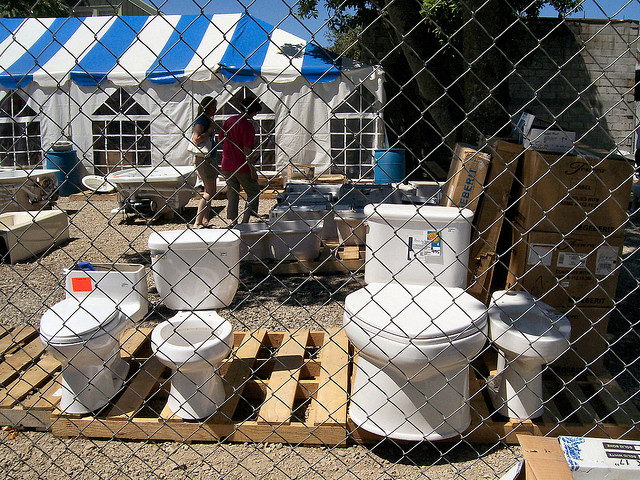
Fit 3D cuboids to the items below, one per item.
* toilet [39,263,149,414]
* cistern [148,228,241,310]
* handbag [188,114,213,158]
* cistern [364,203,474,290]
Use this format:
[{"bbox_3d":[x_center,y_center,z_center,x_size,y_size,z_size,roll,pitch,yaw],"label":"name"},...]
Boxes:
[{"bbox_3d":[-1.865,0.788,4.826,0.629,0.957,1.008,2,101,6],"label":"toilet"},{"bbox_3d":[-1.100,0.284,5.462,0.791,0.641,0.643,0,106,-5],"label":"cistern"},{"bbox_3d":[-1.669,-1.458,8.281,0.333,0.527,0.687,4,82,-6],"label":"handbag"},{"bbox_3d":[0.823,0.053,5.015,1.068,0.652,0.797,2,98,5],"label":"cistern"}]
